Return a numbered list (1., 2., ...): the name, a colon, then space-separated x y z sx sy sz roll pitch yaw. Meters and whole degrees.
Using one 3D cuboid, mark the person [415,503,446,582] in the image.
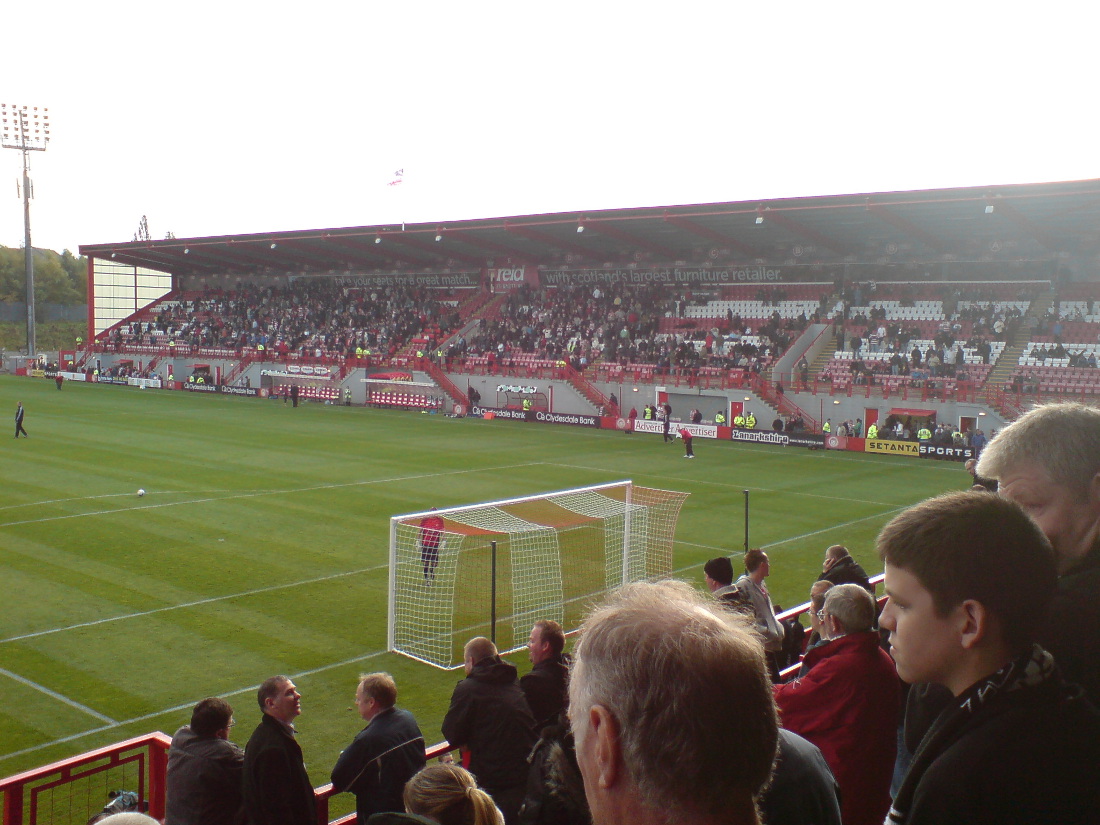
1. person: -1.512 1.767 14.272 0.314 0.957 0.918 4 5 -6
